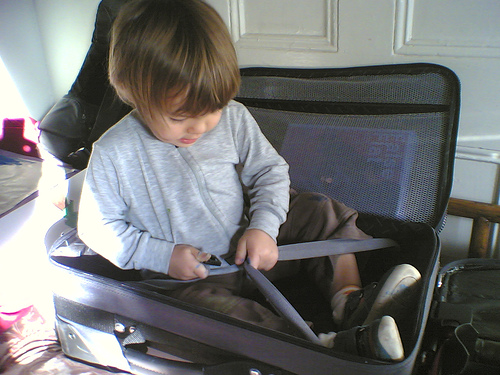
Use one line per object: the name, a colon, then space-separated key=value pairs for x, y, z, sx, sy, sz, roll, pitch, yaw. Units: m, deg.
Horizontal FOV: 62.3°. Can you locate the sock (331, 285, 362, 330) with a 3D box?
sock: x=0.207 y=0.267 z=0.951 sx=0.057 sy=0.092 sz=0.097 roll=9 pitch=-10 yaw=43

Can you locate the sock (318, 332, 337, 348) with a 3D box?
sock: x=0.168 y=0.320 z=0.882 sx=0.029 sy=0.011 sz=0.022 roll=6 pitch=33 yaw=23

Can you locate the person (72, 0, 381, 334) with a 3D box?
person: x=-0.053 y=-0.060 z=1.027 sx=0.761 sy=0.731 sz=0.418 roll=4 pitch=15 yaw=16
